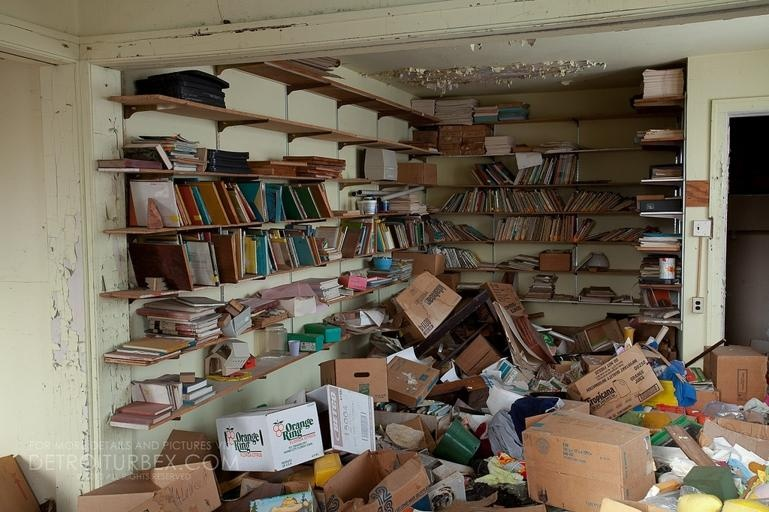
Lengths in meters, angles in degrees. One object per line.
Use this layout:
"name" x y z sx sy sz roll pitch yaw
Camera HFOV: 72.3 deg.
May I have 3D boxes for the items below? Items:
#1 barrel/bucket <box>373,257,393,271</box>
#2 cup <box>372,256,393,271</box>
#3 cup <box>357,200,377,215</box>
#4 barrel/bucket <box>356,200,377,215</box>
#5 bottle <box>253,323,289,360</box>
"barrel/bucket" -0.021 0.078 5.946 0.222 0.092 0.182 1 -4 -18
"cup" -0.024 0.082 5.966 0.232 0.095 0.187 0 -5 6
"cup" -0.184 -0.544 5.760 0.277 0.153 0.158 0 3 7
"barrel/bucket" -0.183 -0.535 5.684 0.260 0.128 0.175 0 0 25
"bottle" -0.968 0.727 4.537 0.324 0.204 0.294 -2 -2 30
